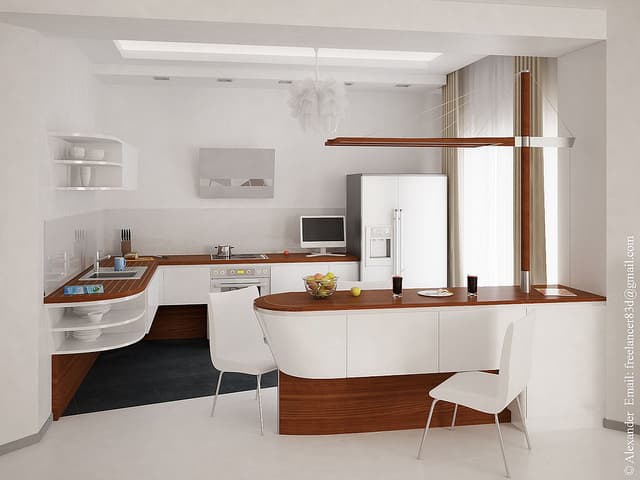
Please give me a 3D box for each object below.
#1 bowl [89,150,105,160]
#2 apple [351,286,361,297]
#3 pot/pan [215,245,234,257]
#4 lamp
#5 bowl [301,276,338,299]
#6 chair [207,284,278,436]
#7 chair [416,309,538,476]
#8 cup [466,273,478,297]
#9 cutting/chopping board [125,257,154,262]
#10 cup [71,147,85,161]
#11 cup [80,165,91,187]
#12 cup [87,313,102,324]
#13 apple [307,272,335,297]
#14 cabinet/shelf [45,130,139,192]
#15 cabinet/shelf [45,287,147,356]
[{"bbox_3d":[-2.180,-0.827,4.903,0.123,0.090,0.110,0,2,18],"label":"bowl"},{"bbox_3d":[0.298,0.449,4.288,0.082,0.063,0.060,-1,7,-45],"label":"apple"},{"bbox_3d":[-1.282,0.144,6.657,0.230,0.112,0.145,1,1,-9],"label":"pot/pan"},{"bbox_3d":[-0.033,-1.206,4.491,0.511,0.451,0.286,0,8,-4],"label":"lamp"},{"bbox_3d":[-0.003,0.380,4.188,0.209,0.136,0.209,0,-2,0],"label":"bowl"},{"bbox_3d":[-0.733,1.005,4.545,0.543,1.107,0.933,-2,8,-13],"label":"chair"},{"bbox_3d":[1.282,1.096,3.898,1.035,1.158,0.654,-6,10,-38],"label":"chair"},{"bbox_3d":[1.297,0.394,4.282,0.080,0.170,0.103,2,8,14],"label":"cup"},{"bbox_3d":[-2.261,0.236,6.346,0.347,0.027,0.325,-1,8,-7],"label":"cutting/chopping board"},{"bbox_3d":[-2.296,-0.816,4.776,0.134,0.128,0.137,1,3,0],"label":"cup"},{"bbox_3d":[-2.312,-0.620,4.928,0.084,0.202,0.108,-5,9,-32],"label":"cup"},{"bbox_3d":[-2.027,0.689,4.505,0.130,0.105,0.139,0,8,0],"label":"cup"},{"bbox_3d":[0.001,0.369,4.172,0.207,0.154,0.207,0,-2,-4],"label":"apple"},{"bbox_3d":[-2.236,-0.765,5.024,0.450,0.545,1.400,0,8,1],"label":"cabinet/shelf"},{"bbox_3d":[-2.009,0.739,4.598,0.726,0.443,0.572,-2,8,-12],"label":"cabinet/shelf"}]
